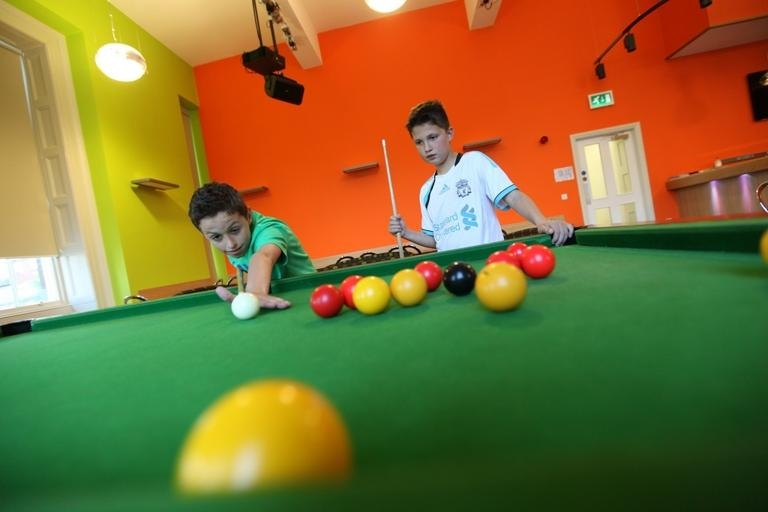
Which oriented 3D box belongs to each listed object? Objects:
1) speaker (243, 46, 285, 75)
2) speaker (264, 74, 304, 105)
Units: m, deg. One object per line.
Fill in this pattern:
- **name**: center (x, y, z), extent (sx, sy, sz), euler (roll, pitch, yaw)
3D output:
- **speaker**: center (-1.077, -1.741, 4.986), extent (0.297, 0.101, 0.301), euler (0, 1, 29)
- **speaker**: center (-1.015, -1.728, 5.477), extent (0.304, 0.233, 0.556), euler (-8, 6, 13)
